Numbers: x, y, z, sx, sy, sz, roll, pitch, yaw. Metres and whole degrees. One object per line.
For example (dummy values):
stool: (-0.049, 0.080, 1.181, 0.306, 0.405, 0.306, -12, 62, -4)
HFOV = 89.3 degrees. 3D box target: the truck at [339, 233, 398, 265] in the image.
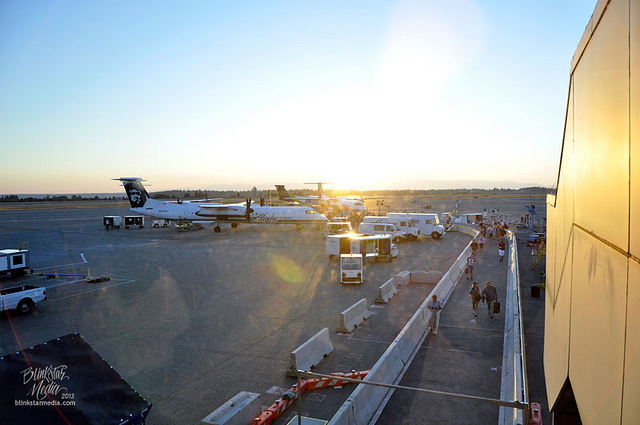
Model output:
truck: (5.223, 3.514, 32.109, 4.928, 2.235, 2.658, -1, 3, -6)

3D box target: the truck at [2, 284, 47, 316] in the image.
truck: (-17.345, 5.050, 18.588, 1.525, 1.521, 1.973, 1, 7, 23)
